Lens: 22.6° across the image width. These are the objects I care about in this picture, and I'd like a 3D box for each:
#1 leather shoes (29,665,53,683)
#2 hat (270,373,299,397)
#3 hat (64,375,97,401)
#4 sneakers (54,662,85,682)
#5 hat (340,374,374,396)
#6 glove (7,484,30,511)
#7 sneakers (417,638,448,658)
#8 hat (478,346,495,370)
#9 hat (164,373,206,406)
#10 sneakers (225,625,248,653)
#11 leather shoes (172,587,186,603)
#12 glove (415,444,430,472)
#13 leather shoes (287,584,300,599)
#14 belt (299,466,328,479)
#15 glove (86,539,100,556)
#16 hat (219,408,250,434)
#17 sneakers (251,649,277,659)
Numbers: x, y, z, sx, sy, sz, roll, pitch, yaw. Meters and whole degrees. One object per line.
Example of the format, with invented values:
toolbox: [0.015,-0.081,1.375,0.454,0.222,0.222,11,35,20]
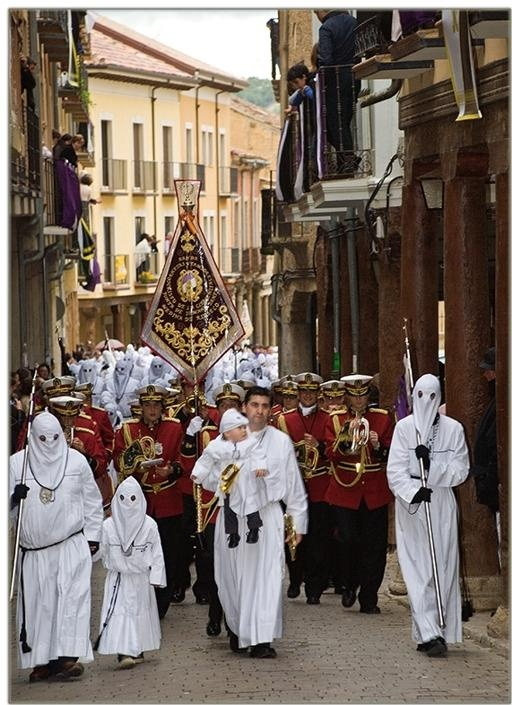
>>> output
leather shoes: [-1.344,1.976,7.885,0.125,0.126,0.073,-3,-4,-12]
hat: [0.282,0.314,12.427,0.183,0.116,0.212,3,-11,-5]
hat: [-1.916,0.383,13.833,0.442,0.238,0.373,11,-13,-41]
sneakers: [-1.146,1.935,7.785,0.078,0.129,0.245,4,-18,-28]
hat: [0.856,0.278,10.860,0.232,0.123,0.288,0,-6,1]
glove: [-1.498,0.907,7.976,0.118,0.163,0.057,27,11,16]
sneakers: [1.151,1.872,8.167,0.082,0.107,0.247,3,-14,-3]
hat: [1.668,0.042,8.976,0.156,0.083,0.115,15,8,-33]
hat: [-0.762,0.308,12.667,0.335,0.163,0.406,2,-17,-12]
sneakers: [-0.126,1.914,8.498,0.074,0.157,0.224,-1,-38,-7]
leather shoes: [-0.659,2.028,10.755,0.081,0.119,0.113,-1,7,1]
glove: [1.114,0.704,8.501,0.048,0.148,0.106,-8,-1,-17]
leather shoes: [0.335,2.070,11.151,0.058,0.119,0.168,3,6,7]
belt: [0.498,1.032,11.119,0.143,0.076,0.105,-1,0,-19]
glove: [-1.052,1.243,8.182,0.059,0.080,0.081,-4,5,0]
hat: [-0.164,0.459,8.685,0.129,0.125,0.187,-4,-12,-10]
sneakers: [0.045,1.944,8.315,0.155,0.070,0.069,-10,-10,27]
